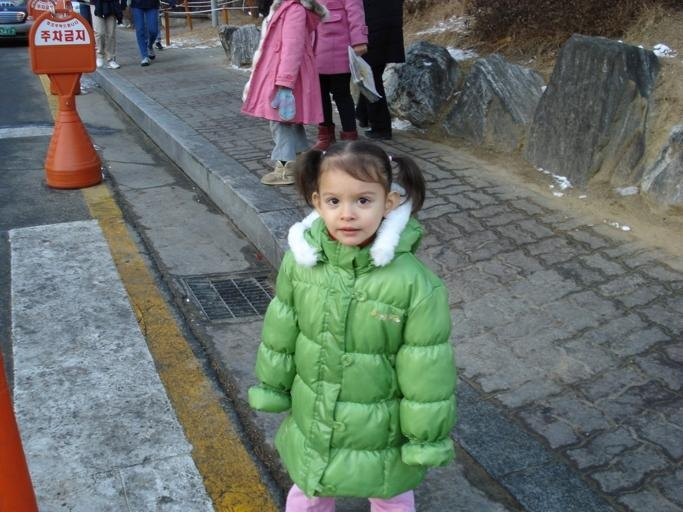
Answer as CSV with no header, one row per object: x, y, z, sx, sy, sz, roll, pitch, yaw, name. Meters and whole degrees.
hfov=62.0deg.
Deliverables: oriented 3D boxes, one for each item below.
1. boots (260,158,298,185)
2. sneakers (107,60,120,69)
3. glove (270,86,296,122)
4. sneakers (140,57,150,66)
-0.522,-0.739,5.078,0.401,0.229,0.162,2,18,7,boots
-4.440,-3.674,10.990,0.139,0.110,0.290,-21,34,-39,sneakers
-0.497,-1.281,4.820,0.206,0.286,0.194,-1,28,-6,glove
-3.885,-3.811,11.194,0.138,0.119,0.321,-6,24,-12,sneakers
